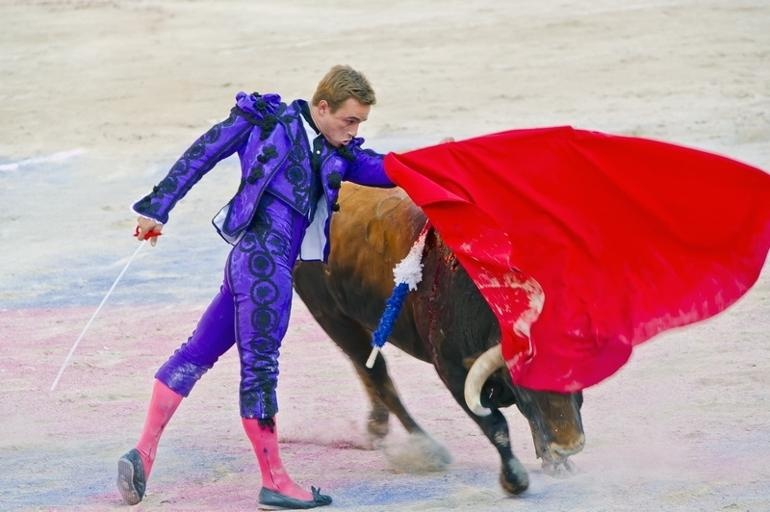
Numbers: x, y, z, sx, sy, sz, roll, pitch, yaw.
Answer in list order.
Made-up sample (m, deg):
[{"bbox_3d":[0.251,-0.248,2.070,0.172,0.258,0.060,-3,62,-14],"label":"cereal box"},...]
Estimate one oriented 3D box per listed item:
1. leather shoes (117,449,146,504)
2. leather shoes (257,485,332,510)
[{"bbox_3d":[-1.683,1.463,8.508,0.173,0.351,0.196,7,17,36],"label":"leather shoes"},{"bbox_3d":[-0.603,1.609,8.509,0.501,0.126,0.165,-1,10,-5],"label":"leather shoes"}]
